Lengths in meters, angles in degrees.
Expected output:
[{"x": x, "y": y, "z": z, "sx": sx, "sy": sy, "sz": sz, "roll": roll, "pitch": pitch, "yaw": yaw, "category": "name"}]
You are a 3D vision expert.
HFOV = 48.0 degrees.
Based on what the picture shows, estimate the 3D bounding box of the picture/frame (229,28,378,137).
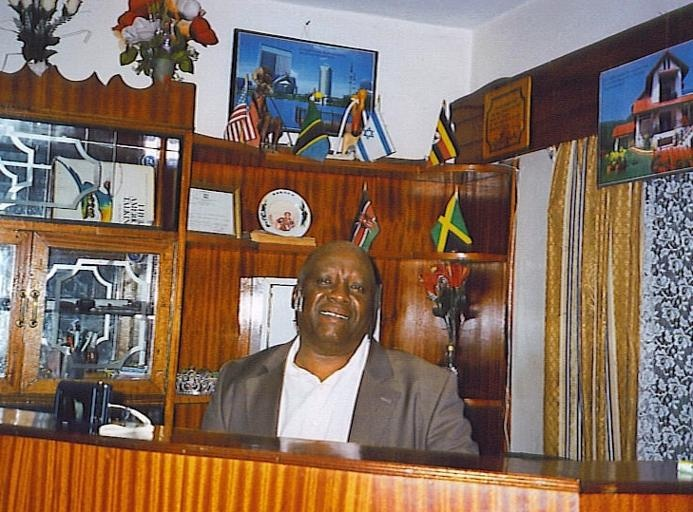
[{"x": -0.289, "y": -1.008, "z": 4.583, "sx": 0.876, "sy": 0.488, "sz": 0.057, "roll": 3, "pitch": -1, "yaw": -13, "category": "picture/frame"}]

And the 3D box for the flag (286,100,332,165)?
[{"x": -0.197, "y": -0.695, "z": 4.339, "sx": 0.162, "sy": 0.319, "sz": 0.146, "roll": -2, "pitch": 8, "yaw": -39, "category": "flag"}]

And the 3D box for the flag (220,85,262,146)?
[{"x": -0.574, "y": -0.796, "z": 4.344, "sx": 0.200, "sy": 0.365, "sz": 0.413, "roll": 2, "pitch": 6, "yaw": -7, "category": "flag"}]
